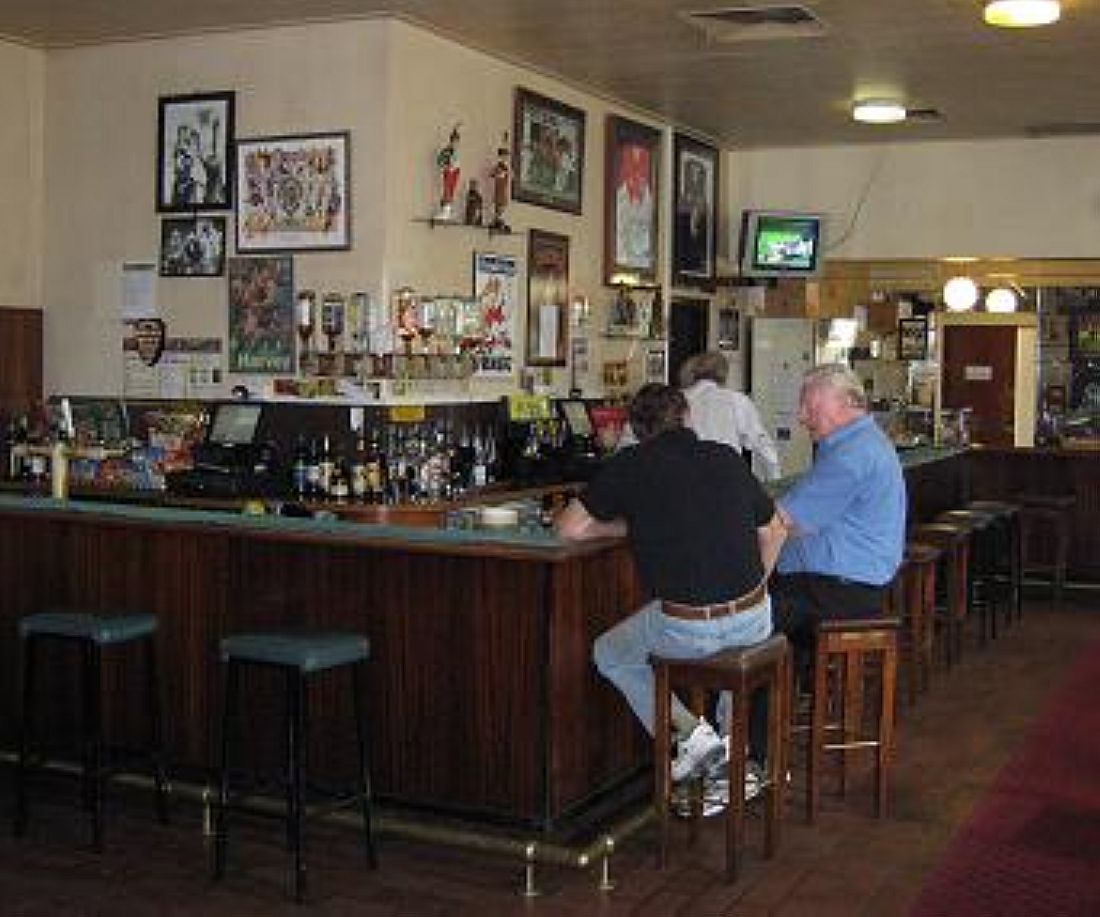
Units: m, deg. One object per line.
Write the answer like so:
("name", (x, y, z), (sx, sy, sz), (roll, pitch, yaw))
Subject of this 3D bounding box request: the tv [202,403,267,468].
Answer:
("tv", (-1.939, -0.154, 6.601), (0.379, 0.374, 0.697), (0, 4, -15))

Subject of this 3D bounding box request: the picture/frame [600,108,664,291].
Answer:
("picture/frame", (0.642, -2.136, 8.760), (0.196, 1.989, 1.386), (1, 3, 24))

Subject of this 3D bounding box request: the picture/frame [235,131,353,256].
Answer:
("picture/frame", (-1.534, -1.621, 6.531), (0.745, 0.676, 0.057), (2, 2, 21))

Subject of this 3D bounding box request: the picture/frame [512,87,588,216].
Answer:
("picture/frame", (-0.030, -2.206, 7.698), (0.079, 0.914, 1.001), (2, 0, 28))

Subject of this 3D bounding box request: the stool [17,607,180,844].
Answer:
("stool", (-1.843, 0.991, 4.248), (0.755, 0.856, 0.611), (3, 4, 21))

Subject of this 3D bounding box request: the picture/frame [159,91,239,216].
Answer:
("picture/frame", (-2.204, -1.936, 6.786), (0.724, 0.878, 0.062), (3, 6, 26))

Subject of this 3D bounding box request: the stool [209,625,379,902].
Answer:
("stool", (-0.886, 1.057, 3.774), (0.538, 0.825, 0.562), (0, -5, -3))

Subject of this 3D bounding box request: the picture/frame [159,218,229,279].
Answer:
("picture/frame", (-2.266, -1.340, 6.864), (0.359, 0.322, 0.039), (5, 9, 23))

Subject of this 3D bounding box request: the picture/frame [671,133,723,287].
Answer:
("picture/frame", (1.326, -2.294, 9.841), (0.104, 1.550, 1.295), (1, 4, 20))

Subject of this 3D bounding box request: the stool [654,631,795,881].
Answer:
("stool", (0.439, 1.085, 3.847), (0.496, 0.780, 0.523), (0, -16, 2))

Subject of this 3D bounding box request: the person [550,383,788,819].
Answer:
("person", (0.494, 0.592, 3.897), (0.863, 1.696, 0.510), (-1, 4, -26))

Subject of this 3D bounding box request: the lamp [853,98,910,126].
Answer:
("lamp", (2.632, -2.754, 8.554), (0.424, 0.112, 0.545), (3, 5, 22))
